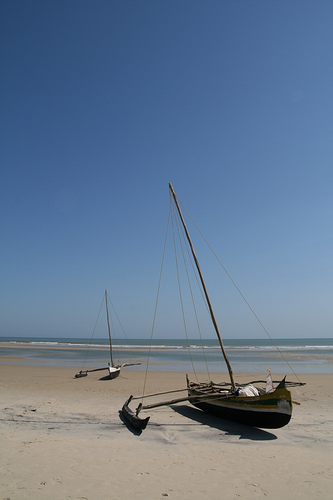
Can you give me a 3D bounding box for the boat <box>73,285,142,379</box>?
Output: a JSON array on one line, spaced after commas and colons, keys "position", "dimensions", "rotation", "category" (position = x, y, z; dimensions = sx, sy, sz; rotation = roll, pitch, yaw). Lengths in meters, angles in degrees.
[{"position": [-4.427, 6.575, 28.505], "dimensions": [4.957, 6.090, 6.282], "rotation": [-11, -4, 22], "category": "boat"}]
